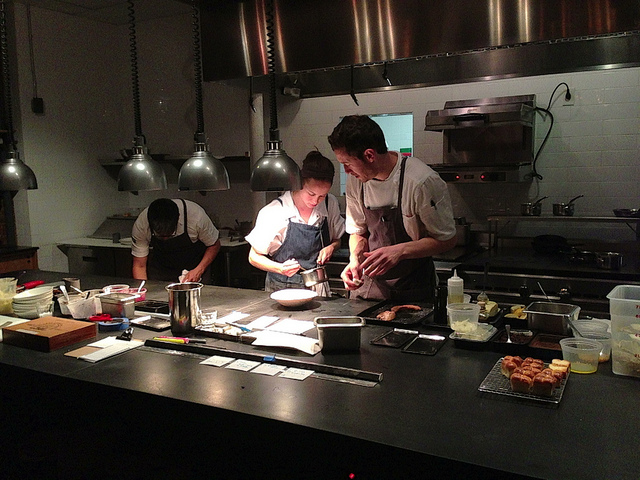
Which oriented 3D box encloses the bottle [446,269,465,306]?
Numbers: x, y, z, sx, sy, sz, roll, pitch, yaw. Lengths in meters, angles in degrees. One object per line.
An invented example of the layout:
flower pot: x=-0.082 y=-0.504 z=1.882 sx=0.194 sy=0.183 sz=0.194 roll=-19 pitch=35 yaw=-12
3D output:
bottle: x=0.730 y=0.264 z=2.655 sx=0.080 sy=0.199 sz=0.081 roll=-4 pitch=7 yaw=0

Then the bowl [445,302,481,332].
bowl: x=0.704 y=0.382 z=2.434 sx=0.146 sy=0.107 sz=0.143 roll=-2 pitch=7 yaw=0

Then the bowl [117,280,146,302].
bowl: x=-1.207 y=0.335 z=3.180 sx=0.112 sy=0.063 sz=0.162 roll=-1 pitch=-1 yaw=21

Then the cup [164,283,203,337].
cup: x=-0.704 y=0.360 z=2.647 sx=0.271 sy=0.322 sz=0.243 roll=-1 pitch=1 yaw=-3

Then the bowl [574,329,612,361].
bowl: x=1.284 y=0.510 z=2.324 sx=0.201 sy=0.130 sz=0.200 roll=3 pitch=-17 yaw=1

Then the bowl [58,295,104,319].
bowl: x=-1.441 y=0.383 z=2.931 sx=0.198 sy=0.080 sz=0.146 roll=-1 pitch=2 yaw=45

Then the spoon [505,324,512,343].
spoon: x=0.879 y=0.438 z=2.296 sx=0.022 sy=0.110 sz=0.017 roll=-7 pitch=-8 yaw=-10

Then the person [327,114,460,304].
person: x=0.470 y=-0.172 z=3.100 sx=0.720 sy=1.214 sz=0.615 roll=-2 pitch=10 yaw=15

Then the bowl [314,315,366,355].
bowl: x=0.091 y=0.466 z=2.378 sx=0.247 sy=0.127 sz=0.164 roll=-2 pitch=-5 yaw=3

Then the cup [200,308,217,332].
cup: x=-0.621 y=0.436 z=2.699 sx=0.097 sy=0.107 sz=0.105 roll=1 pitch=-4 yaw=0

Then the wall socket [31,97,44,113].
wall socket: x=-3.309 y=-1.559 z=5.730 sx=0.060 sy=0.179 sz=0.180 roll=3 pitch=9 yaw=23

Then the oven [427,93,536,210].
oven: x=1.568 y=-0.788 z=4.802 sx=0.894 sy=1.164 sz=0.625 roll=6 pitch=16 yaw=36

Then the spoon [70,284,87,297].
spoon: x=-1.586 y=0.334 z=3.210 sx=0.103 sy=0.015 sz=0.013 roll=36 pitch=28 yaw=15

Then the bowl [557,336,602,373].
bowl: x=1.117 y=0.488 z=2.127 sx=0.146 sy=0.093 sz=0.146 roll=-1 pitch=5 yaw=0
